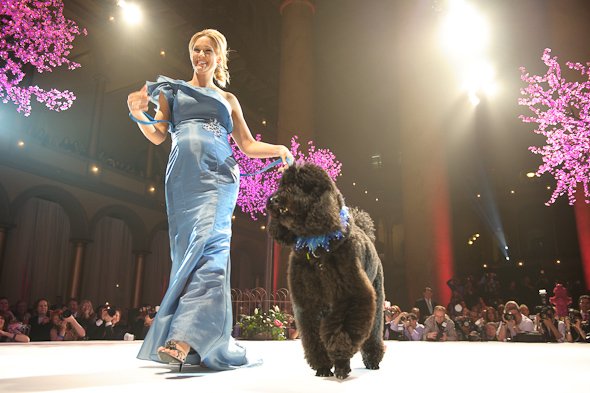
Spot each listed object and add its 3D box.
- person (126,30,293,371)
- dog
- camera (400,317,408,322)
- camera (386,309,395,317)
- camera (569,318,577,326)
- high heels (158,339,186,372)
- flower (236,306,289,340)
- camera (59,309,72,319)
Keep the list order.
[{"bbox_3d":[-0.890,-0.110,3.654,1.238,3.233,0.594,7,-17,-22],"label":"person"},{"bbox_3d":[0.318,0.650,3.433,0.629,1.715,1.215,-15,-22,41],"label":"dog"},{"bbox_3d":[2.461,2.745,8.828,0.105,0.107,0.107,-1,-11,8],"label":"camera"},{"bbox_3d":[2.152,2.630,8.880,0.149,0.107,0.146,14,-25,-37],"label":"camera"},{"bbox_3d":[5.631,2.515,7.959,0.125,0.153,0.218,-11,-20,32],"label":"camera"},{"bbox_3d":[-0.962,1.271,3.156,0.113,0.106,0.274,-13,-50,14],"label":"high heels"},{"bbox_3d":[-0.839,3.106,9.613,1.329,0.790,1.288,2,-27,-20],"label":"flower"},{"bbox_3d":[-4.568,2.343,7.859,0.172,0.127,0.174,-7,-28,-15],"label":"camera"}]
